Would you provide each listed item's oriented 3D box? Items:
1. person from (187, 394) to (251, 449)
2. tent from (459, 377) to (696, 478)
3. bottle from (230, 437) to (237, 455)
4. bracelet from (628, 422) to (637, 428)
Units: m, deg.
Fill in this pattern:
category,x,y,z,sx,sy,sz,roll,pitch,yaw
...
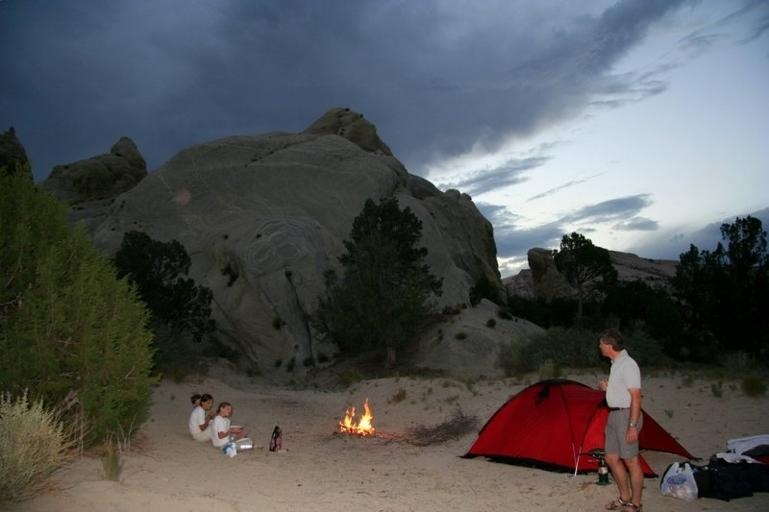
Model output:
category,x,y,z,sx,sy,sz,roll,pitch,yaw
person,-4.688,4.682,17.336,1.349,1.082,1.488,2,-8,-12
tent,4.179,4.507,16.311,2.919,1.364,3.051,3,-6,-40
bottle,-4.085,5.140,16.631,0.203,0.325,0.148,-5,-11,-9
bracelet,5.498,3.707,13.702,0.197,0.130,0.103,3,3,-12
